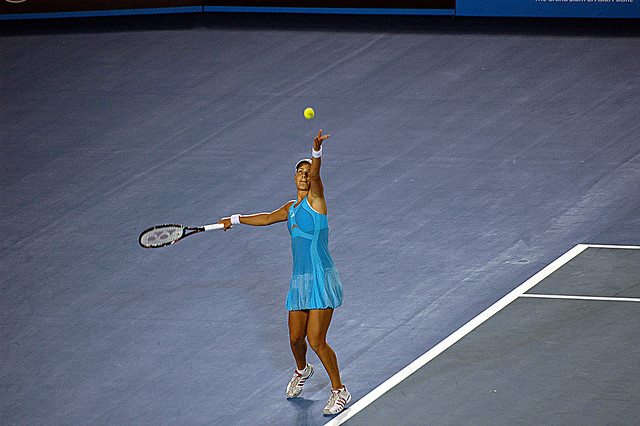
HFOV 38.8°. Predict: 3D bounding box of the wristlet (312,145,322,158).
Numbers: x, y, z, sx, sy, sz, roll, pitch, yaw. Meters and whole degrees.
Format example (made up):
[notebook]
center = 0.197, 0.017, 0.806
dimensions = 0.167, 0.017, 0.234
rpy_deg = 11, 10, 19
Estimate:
[wristlet]
center = -0.044, -0.806, 12.114
dimensions = 0.150, 0.158, 0.118
rpy_deg = 0, -69, 0
